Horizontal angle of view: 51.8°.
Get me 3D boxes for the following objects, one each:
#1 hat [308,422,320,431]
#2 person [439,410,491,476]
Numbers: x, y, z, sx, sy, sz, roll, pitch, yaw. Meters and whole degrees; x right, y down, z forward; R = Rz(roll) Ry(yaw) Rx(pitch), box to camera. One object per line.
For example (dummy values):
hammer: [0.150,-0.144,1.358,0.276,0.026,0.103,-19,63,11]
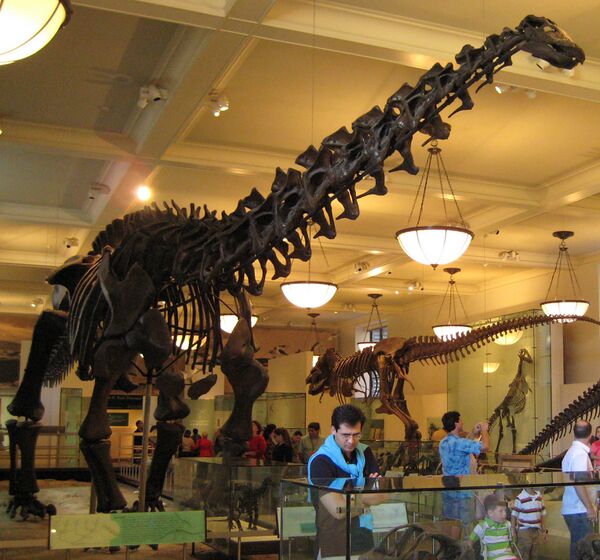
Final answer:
hat: [0.192,2.212,9.412,0.162,0.165,0.209,-6,-22,16]
person: [1.331,1.294,5.005,0.372,0.518,2.183,-3,-18,16]
